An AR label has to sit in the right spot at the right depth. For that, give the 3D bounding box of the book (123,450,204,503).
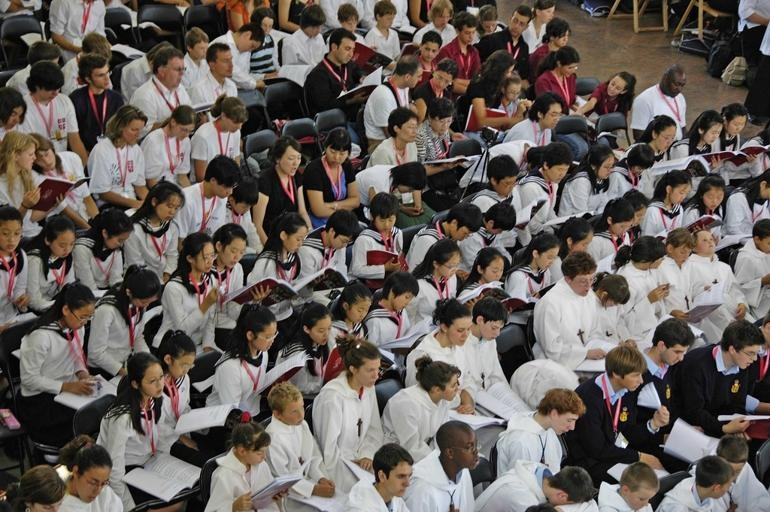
[{"bbox_3d":[-1.935,1.947,8.127,0.607,0.135,0.463,16,30,25],"label":"book"}]

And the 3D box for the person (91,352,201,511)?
[{"bbox_3d":[-2.089,1.590,8.156,0.756,1.285,0.662,20,32,19],"label":"person"}]

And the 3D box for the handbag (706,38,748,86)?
[{"bbox_3d":[5.679,-3.223,15.461,0.475,0.777,0.714,0,33,1],"label":"handbag"}]

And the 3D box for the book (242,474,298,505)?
[{"bbox_3d":[-0.927,1.934,7.670,0.084,0.288,0.298,57,13,17],"label":"book"}]

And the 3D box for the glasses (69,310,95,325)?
[{"bbox_3d":[-2.814,0.558,8.562,0.151,0.082,0.157,-17,50,-44],"label":"glasses"}]

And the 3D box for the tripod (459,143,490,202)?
[{"bbox_3d":[1.080,-1.030,11.223,0.359,0.610,0.462,3,25,5],"label":"tripod"}]
